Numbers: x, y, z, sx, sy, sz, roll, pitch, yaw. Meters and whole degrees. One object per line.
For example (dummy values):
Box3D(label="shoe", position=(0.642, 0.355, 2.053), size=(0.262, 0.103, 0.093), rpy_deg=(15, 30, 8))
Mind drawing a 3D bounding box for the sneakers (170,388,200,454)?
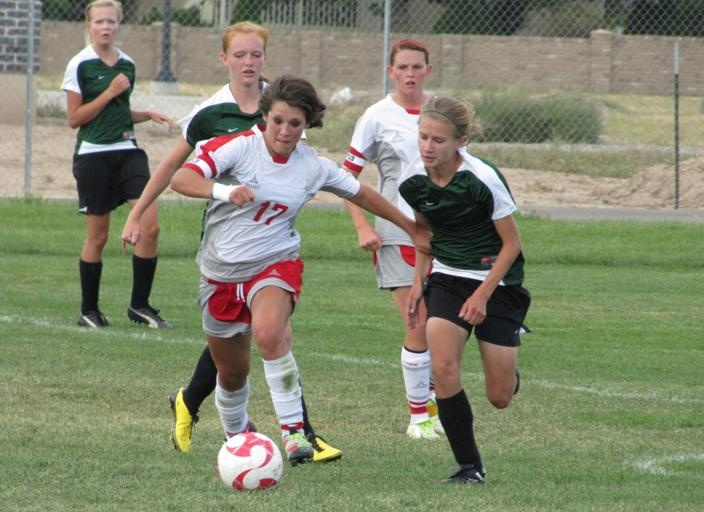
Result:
Box3D(label="sneakers", position=(-1.447, 1.370, 11.530), size=(0.263, 0.497, 0.196), rpy_deg=(-18, -16, 21))

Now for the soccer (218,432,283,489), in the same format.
Box3D(label="soccer", position=(-0.810, 1.687, 11.272), size=(0.452, 0.418, 0.457), rpy_deg=(-14, -27, 19))

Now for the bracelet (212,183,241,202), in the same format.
Box3D(label="bracelet", position=(-1.041, -0.517, 11.293), size=(0.211, 0.158, 0.267), rpy_deg=(1, 8, -5))

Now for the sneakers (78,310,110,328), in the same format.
Box3D(label="sneakers", position=(-2.600, 0.635, 13.831), size=(0.313, 0.156, 0.256), rpy_deg=(0, 8, -12))

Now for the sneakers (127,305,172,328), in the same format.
Box3D(label="sneakers", position=(-2.079, 0.599, 14.068), size=(0.520, 0.222, 0.182), rpy_deg=(11, 11, 12))
